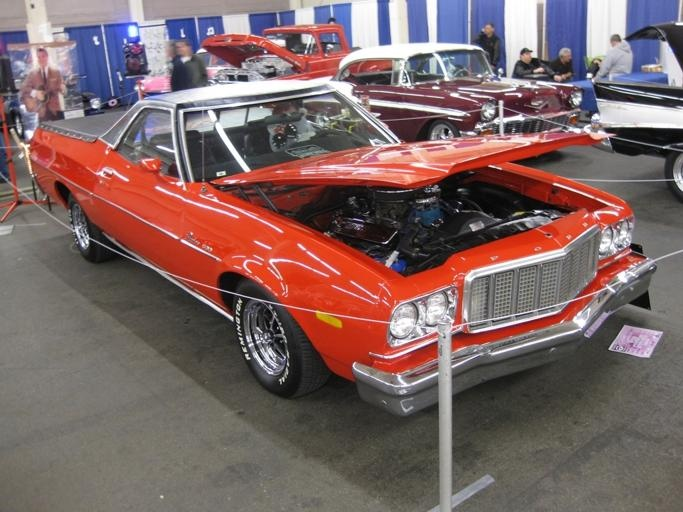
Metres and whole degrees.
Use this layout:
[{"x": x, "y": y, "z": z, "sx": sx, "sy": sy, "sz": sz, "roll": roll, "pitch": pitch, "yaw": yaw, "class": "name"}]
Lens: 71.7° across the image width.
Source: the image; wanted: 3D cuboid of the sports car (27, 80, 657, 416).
[{"x": -0.710, "y": -0.302, "z": 3.621, "sx": 4.444, "sy": 1.071, "sz": 2.395, "roll": 21, "pitch": 32, "yaw": 35, "class": "sports car"}]

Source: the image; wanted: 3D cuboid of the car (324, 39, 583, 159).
[{"x": 1.439, "y": -2.659, "z": 8.280, "sx": 2.513, "sy": 1.229, "sz": 4.077, "roll": -25, "pitch": 35, "yaw": -38, "class": "car"}]
